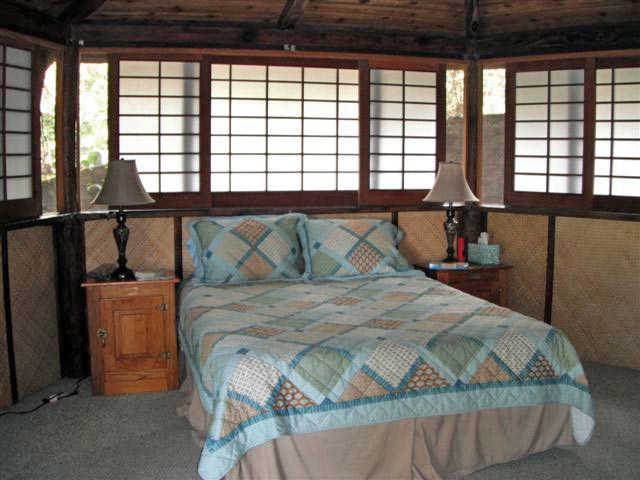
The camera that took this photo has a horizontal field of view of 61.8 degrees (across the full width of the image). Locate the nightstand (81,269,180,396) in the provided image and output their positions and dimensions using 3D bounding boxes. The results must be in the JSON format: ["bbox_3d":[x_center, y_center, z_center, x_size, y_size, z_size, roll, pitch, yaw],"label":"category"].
[{"bbox_3d":[-1.631,0.793,4.763,0.739,0.956,0.674,-3,4,-8],"label":"nightstand"}]

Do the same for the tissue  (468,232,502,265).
[{"bbox_3d":[1.734,0.091,5.607,0.167,0.314,0.323,1,3,-15],"label":"tissue "}]

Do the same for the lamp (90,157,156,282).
[{"bbox_3d":[-1.740,-0.206,4.743,0.492,1.018,0.753,-3,15,-20],"label":"lamp"}]
